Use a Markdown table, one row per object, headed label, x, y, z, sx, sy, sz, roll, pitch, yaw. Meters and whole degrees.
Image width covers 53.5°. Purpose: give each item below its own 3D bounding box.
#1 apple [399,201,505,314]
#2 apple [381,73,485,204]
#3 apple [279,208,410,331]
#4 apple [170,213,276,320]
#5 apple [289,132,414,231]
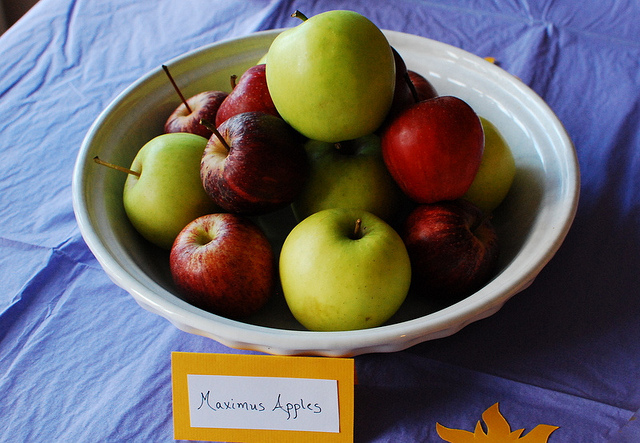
| label | x | y | z | sx | sy | sz | roll | pitch | yaw |
| --- | --- | --- | --- | --- | --- | --- | --- | --- | --- |
| apple | 0.238 | 0.054 | 1.164 | 0.170 | 0.101 | 0.177 | -16 | 66 | -2 |
| apple | 0.210 | -0.139 | 1.203 | 0.180 | 0.173 | 0.211 | -5 | 83 | -42 |
| apple | 0.036 | 0.089 | 1.190 | 0.193 | 0.227 | 0.207 | 11 | 35 | -8 |
| apple | -0.183 | 0.090 | 1.200 | 0.185 | 0.184 | 0.197 | -4 | 36 | 7 |
| apple | 0.057 | -0.080 | 1.296 | 0.185 | 0.200 | 0.206 | -8 | 99 | -10 |
